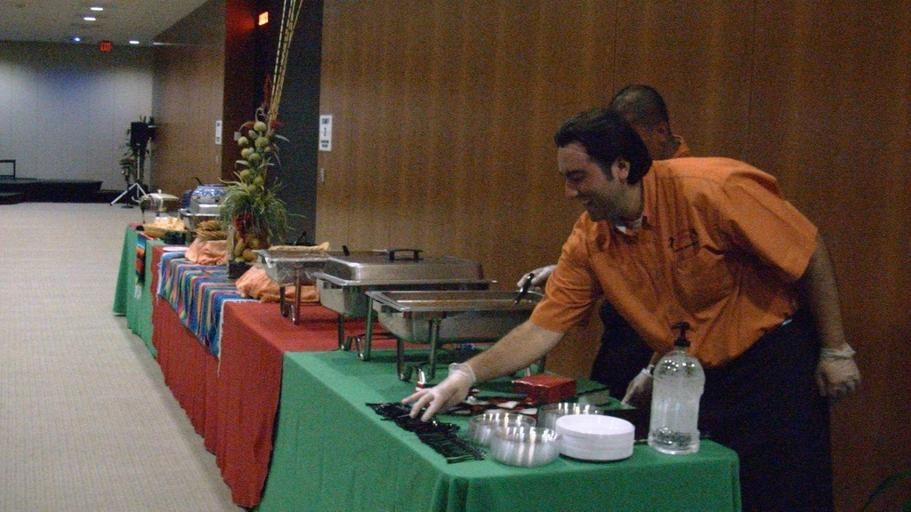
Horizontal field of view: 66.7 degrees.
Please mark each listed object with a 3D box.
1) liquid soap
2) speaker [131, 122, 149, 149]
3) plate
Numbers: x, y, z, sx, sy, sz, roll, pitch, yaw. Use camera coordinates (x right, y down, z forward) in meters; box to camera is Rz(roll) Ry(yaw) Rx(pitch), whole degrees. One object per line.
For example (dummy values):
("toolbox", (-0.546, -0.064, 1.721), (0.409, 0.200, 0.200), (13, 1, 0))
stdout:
("liquid soap", (0.746, 0.444, 2.347), (0.172, 0.429, 0.144), (2, 8, 16))
("speaker", (-6.910, -2.642, 15.044), (0.225, 0.533, 0.803), (-8, 11, -43))
("plate", (0.348, 0.594, 2.277), (0.364, 0.078, 0.202), (-2, 3, -12))
